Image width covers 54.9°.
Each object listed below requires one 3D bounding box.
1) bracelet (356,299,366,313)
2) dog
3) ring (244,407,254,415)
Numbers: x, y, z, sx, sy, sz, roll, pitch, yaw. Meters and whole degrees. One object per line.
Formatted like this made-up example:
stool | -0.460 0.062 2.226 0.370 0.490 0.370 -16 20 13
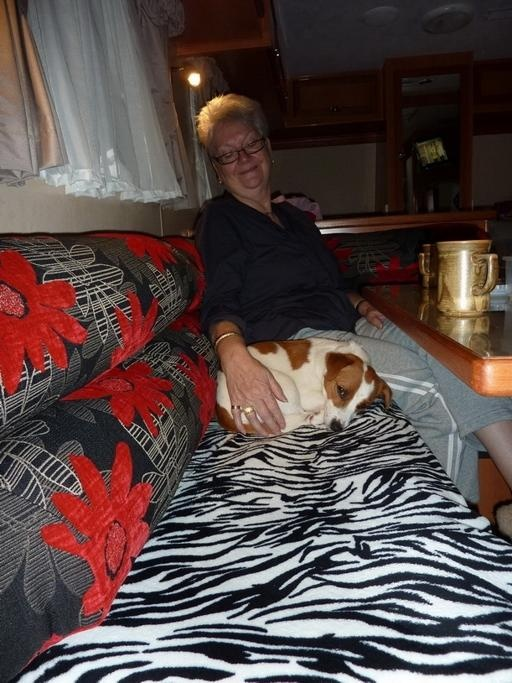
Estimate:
bracelet | 0.413 -0.138 1.945 0.019 0.048 0.037 21 -11 -23
dog | 0.118 0.138 1.585 0.584 0.225 0.391 0 42 -2
ring | -0.020 0.177 1.267 0.016 0.012 0.017 0 -3 0
